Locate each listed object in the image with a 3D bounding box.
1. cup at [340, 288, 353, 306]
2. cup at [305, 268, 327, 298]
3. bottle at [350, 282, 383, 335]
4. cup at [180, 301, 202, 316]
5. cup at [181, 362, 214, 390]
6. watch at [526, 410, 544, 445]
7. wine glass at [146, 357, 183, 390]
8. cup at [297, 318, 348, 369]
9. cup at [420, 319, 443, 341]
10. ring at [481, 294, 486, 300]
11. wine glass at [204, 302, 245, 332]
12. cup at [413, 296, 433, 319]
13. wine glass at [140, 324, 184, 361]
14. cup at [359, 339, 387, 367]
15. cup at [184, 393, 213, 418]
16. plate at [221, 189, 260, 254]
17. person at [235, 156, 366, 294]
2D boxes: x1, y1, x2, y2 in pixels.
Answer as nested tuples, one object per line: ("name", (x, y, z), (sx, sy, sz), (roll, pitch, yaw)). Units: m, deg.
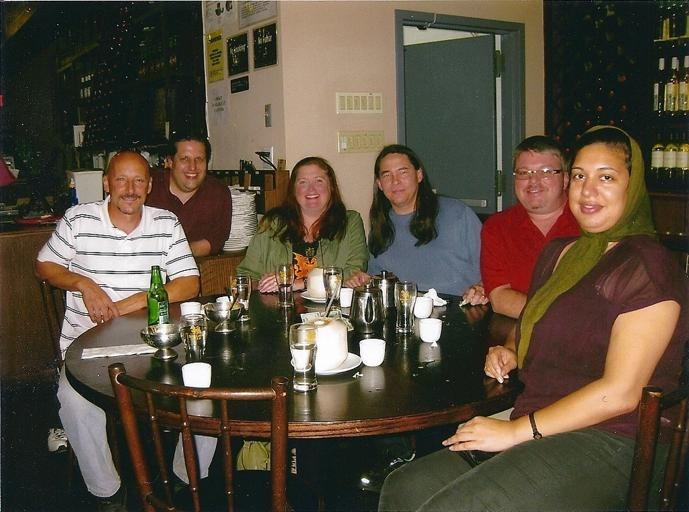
("cup", (0.011, 0.189, 2.758), (0.077, 0.070, 0.067), (-1, 7, -9))
("cup", (-0.134, 0.128, 2.881), (0.127, 0.120, 0.124), (2, 7, 0))
("bottle", (0.096, 0.211, 2.468), (0.126, 0.172, 0.185), (-1, 4, 0))
("cup", (-0.650, 0.223, 2.537), (0.080, 0.060, 0.081), (0, -1, 0))
("cup", (-0.452, 0.402, 1.934), (0.109, 0.086, 0.097), (-3, 14, 0))
("watch", (0.606, 0.547, 1.913), (0.046, 0.072, 0.076), (-18, -6, -2))
("wine glass", (-0.621, 0.406, 2.091), (0.122, 0.082, 0.117), (1, -4, 1))
("cup", (-0.073, 0.293, 2.044), (0.163, 0.149, 0.158), (-1, -2, 0))
("cup", (0.333, 0.281, 2.286), (0.082, 0.069, 0.088), (0, -2, 0))
("ring", (0.645, 0.188, 2.784), (0.020, 0.026, 0.007), (0, -1, 4))
("wine glass", (-0.493, 0.245, 2.468), (0.134, 0.086, 0.131), (1, -4, -16))
("cup", (0.330, 0.215, 2.514), (0.086, 0.072, 0.092), (-1, 0, 0))
("wine glass", (-0.672, 0.309, 2.195), (0.134, 0.087, 0.133), (1, -2, 2))
("cup", (0.101, 0.334, 2.101), (0.099, 0.076, 0.091), (-4, 4, 0))
("cup", (-0.439, 0.468, 1.875), (0.099, 0.065, 0.096), (2, -1, 0))
("plate", (-0.660, -0.258, 4.370), (0.407, 0.408, 0.408), (1, 15, -2))
("person", (-0.210, -0.149, 3.609), (0.947, 0.873, 0.677), (0, 3, -2))
